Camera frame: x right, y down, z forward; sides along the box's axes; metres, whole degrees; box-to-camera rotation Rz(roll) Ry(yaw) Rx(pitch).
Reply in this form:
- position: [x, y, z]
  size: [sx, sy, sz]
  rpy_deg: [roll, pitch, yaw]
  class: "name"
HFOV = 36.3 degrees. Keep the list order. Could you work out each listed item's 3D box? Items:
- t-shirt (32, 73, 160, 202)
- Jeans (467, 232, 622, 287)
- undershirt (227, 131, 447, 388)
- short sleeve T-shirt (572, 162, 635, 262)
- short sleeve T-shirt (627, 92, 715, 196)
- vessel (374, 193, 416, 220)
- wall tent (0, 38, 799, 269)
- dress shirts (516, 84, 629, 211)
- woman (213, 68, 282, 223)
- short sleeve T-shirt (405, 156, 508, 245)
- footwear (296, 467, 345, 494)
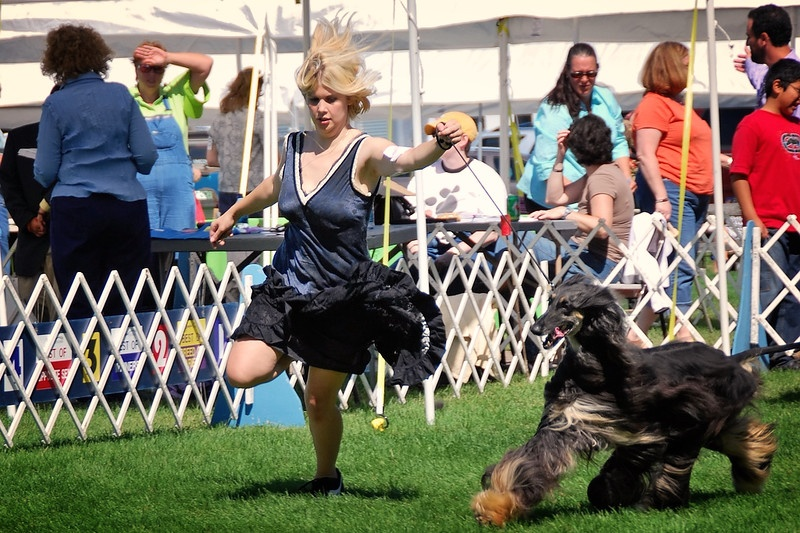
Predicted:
- position: [-2.451, -1.023, 9.609]
  size: [0.979, 0.989, 0.625]
  rpy_deg: [-8, 5, -32]
  class: "t-shirt"
- position: [1.452, -0.121, 11.316]
  size: [0.734, 0.513, 0.672]
  rpy_deg: [2, 3, 6]
  class: "Jeans"
- position: [-0.408, -0.028, 8.005]
  size: [1.472, 1.679, 0.828]
  rpy_deg: [6, 3, -2]
  class: "undershirt"
- position: [1.823, -0.509, 10.983]
  size: [0.530, 0.886, 0.343]
  rpy_deg: [0, 11, 7]
  class: "short sleeve T-shirt"
- position: [2.642, -1.206, 11.509]
  size: [0.643, 0.974, 1.071]
  rpy_deg: [-5, -2, 34]
  class: "short sleeve T-shirt"
- position: [-0.055, -0.564, 11.094]
  size: [0.354, 0.196, 0.190]
  rpy_deg: [11, -7, -44]
  class: "vessel"
- position: [0.907, -2.272, 19.248]
  size: [8.019, 2.527, 0.650]
  rpy_deg: [-4, -26, -2]
  class: "wall tent"
- position: [1.816, -1.318, 11.974]
  size: [0.847, 0.950, 0.787]
  rpy_deg: [2, 6, -15]
  class: "dress shirts"
- position: [-1.634, -1.095, 13.047]
  size: [0.785, 1.995, 0.670]
  rpy_deg: [2, 3, 43]
  class: "woman"
- position: [0.520, -0.607, 11.215]
  size: [0.947, 0.706, 0.376]
  rpy_deg: [-1, -5, 22]
  class: "short sleeve T-shirt"
- position: [-0.531, 1.423, 8.064]
  size: [0.336, 0.138, 0.126]
  rpy_deg: [-2, 44, 0]
  class: "footwear"
